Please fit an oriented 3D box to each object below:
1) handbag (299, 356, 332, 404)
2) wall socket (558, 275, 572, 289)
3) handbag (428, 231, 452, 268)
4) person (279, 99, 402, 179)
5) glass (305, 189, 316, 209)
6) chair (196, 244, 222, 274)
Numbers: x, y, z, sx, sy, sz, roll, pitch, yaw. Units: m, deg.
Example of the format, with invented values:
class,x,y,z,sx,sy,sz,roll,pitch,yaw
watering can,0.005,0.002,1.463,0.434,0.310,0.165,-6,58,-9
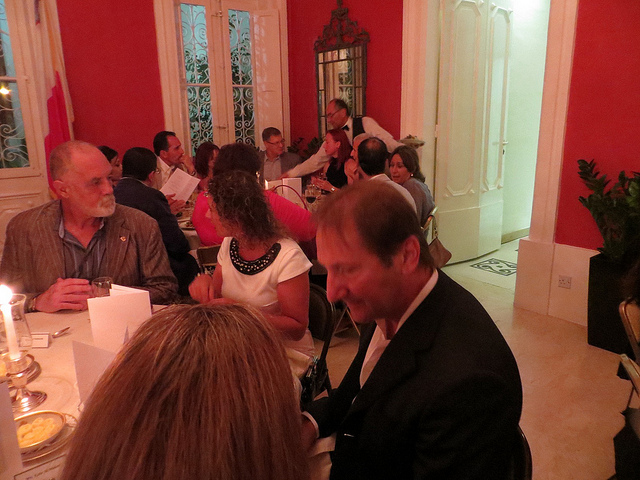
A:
class,x,y,z,sx,sy,sz,roll,pitch,yaw
handbag,-0.006,0.660,2.283,0.072,0.124,0.242,-7,-5,-30
wall socket,2.004,0.349,3.882,0.011,0.119,0.110,-7,4,-30
handbag,0.985,0.063,3.911,0.105,0.290,0.246,-14,41,25
person,0.251,-1.203,5.450,1.284,0.699,0.836,-9,10,-15
glass,-0.080,-0.392,4.537,0.106,0.199,0.115,2,7,8
chair,-0.668,0.119,2.859,0.127,0.235,0.155,-5,40,-16
